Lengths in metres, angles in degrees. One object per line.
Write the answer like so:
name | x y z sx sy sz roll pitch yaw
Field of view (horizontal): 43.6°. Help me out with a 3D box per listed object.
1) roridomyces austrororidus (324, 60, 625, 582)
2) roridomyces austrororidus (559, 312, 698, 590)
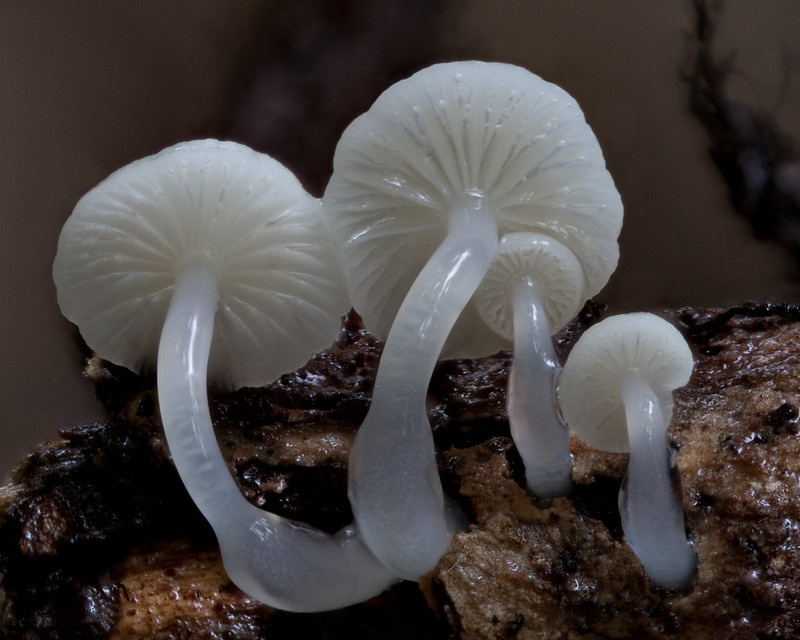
roridomyces austrororidus | 0.171 -0.054 3.832 1.148 1.830 0.470 4 7 -11
roridomyces austrororidus | 0.772 0.443 3.421 0.446 0.823 0.423 -2 21 15
